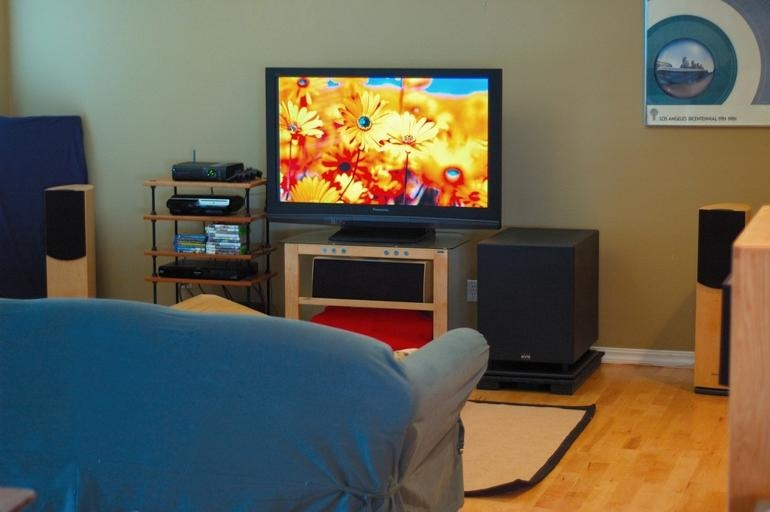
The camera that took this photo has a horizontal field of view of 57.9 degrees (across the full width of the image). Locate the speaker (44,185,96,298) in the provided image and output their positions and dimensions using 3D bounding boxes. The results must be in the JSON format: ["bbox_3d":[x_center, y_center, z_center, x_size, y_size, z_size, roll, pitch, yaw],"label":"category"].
[{"bbox_3d":[-2.362,-0.095,5.186,0.390,0.828,0.310,-5,13,-21],"label":"speaker"}]

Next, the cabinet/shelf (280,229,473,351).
[{"bbox_3d":[0.002,0.306,4.913,1.278,0.857,0.708,2,7,26],"label":"cabinet/shelf"}]

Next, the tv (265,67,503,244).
[{"bbox_3d":[0.030,-0.701,4.643,1.186,0.833,0.323,1,3,11],"label":"tv"}]
